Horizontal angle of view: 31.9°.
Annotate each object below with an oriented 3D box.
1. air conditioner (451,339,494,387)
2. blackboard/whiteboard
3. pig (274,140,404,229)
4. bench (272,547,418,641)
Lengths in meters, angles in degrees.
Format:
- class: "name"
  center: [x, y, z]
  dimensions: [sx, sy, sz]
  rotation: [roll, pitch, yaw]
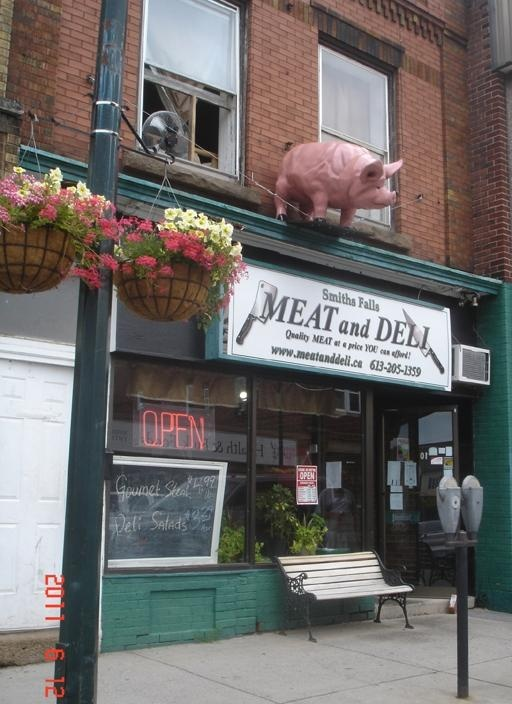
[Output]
- class: "air conditioner"
  center: [2.509, 0.135, 10.458]
  dimensions: [0.344, 0.504, 0.421]
  rotation: [2, -2, -31]
- class: "blackboard/whiteboard"
  center: [-0.789, 1.411, 7.905]
  dimensions: [0.163, 0.941, 1.319]
  rotation: [-3, -8, 44]
- class: "pig"
  center: [0.777, -1.639, 8.843]
  dimensions: [1.241, 0.850, 0.644]
  rotation: [11, 11, 35]
- class: "bench"
  center: [0.841, 2.351, 8.700]
  dimensions: [1.495, 0.708, 0.776]
  rotation: [7, -8, -41]
